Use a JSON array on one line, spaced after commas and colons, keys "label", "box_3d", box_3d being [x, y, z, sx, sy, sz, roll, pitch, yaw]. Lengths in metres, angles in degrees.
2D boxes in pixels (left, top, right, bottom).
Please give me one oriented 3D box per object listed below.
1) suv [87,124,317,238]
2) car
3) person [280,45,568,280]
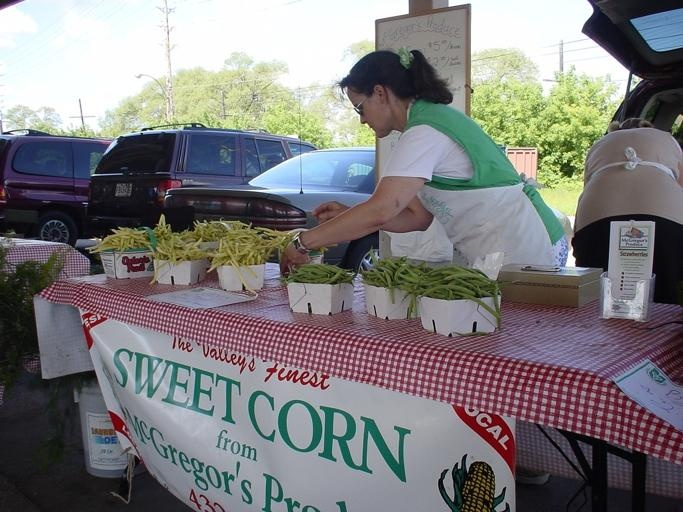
[{"label": "suv", "box_3d": [-1.702, -1.224, 7.243, 1.642, 1.250, 3.057, 7, 15, 44]}, {"label": "car", "box_3d": [-0.502, -0.458, 4.987, 1.084, 0.895, 2.376, 6, 11, 37]}, {"label": "person", "box_3d": [0.438, -0.387, 2.279, 1.402, 1.052, 0.757, -13, 17, -34]}]
